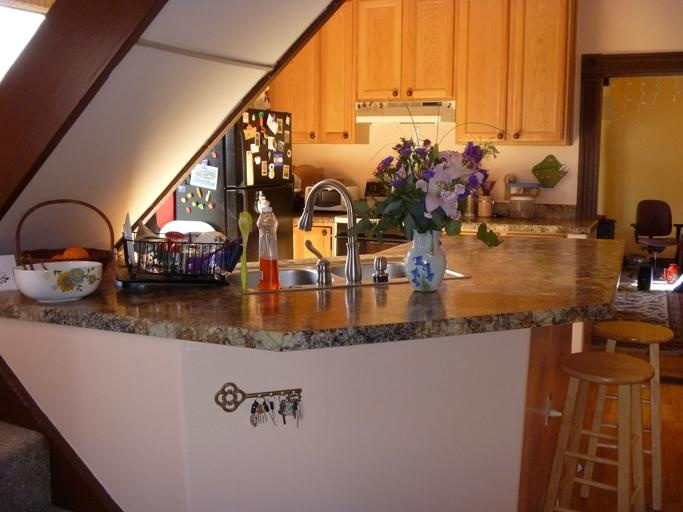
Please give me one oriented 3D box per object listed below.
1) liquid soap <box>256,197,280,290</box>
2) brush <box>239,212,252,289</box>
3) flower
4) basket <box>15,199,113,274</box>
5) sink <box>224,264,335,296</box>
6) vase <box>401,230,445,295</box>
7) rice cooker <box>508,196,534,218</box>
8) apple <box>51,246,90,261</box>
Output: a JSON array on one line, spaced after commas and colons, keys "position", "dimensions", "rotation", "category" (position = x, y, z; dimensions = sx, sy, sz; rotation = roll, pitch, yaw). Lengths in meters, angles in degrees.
[{"position": [-0.301, -0.057, 2.329], "dimensions": [0.084, 0.348, 0.268], "rotation": [-1, 8, -7], "category": "liquid soap"}, {"position": [-0.379, -0.015, 2.207], "dimensions": [0.050, 0.319, 0.047], "rotation": [0, -1, -1], "category": "brush"}, {"position": [0.303, -0.272, 2.201], "dimensions": [0.399, 0.527, 0.468], "rotation": [19, 20, 12], "category": "flower"}, {"position": [-1.145, -0.070, 2.347], "dimensions": [0.306, 0.286, 0.319], "rotation": [-4, 12, -26], "category": "basket"}, {"position": [-0.281, 0.105, 2.587], "dimensions": [0.234, 0.101, 0.198], "rotation": [-1, 5, -29], "category": "sink"}, {"position": [0.339, 0.016, 2.235], "dimensions": [0.151, 0.240, 0.160], "rotation": [2, 6, 30], "category": "vase"}, {"position": [1.599, -0.426, 5.022], "dimensions": [0.179, 0.189, 0.181], "rotation": [-2, 3, -35], "category": "rice cooker"}, {"position": [-1.075, -0.005, 2.254], "dimensions": [0.075, 0.060, 0.100], "rotation": [-3, 6, 14], "category": "apple"}]
